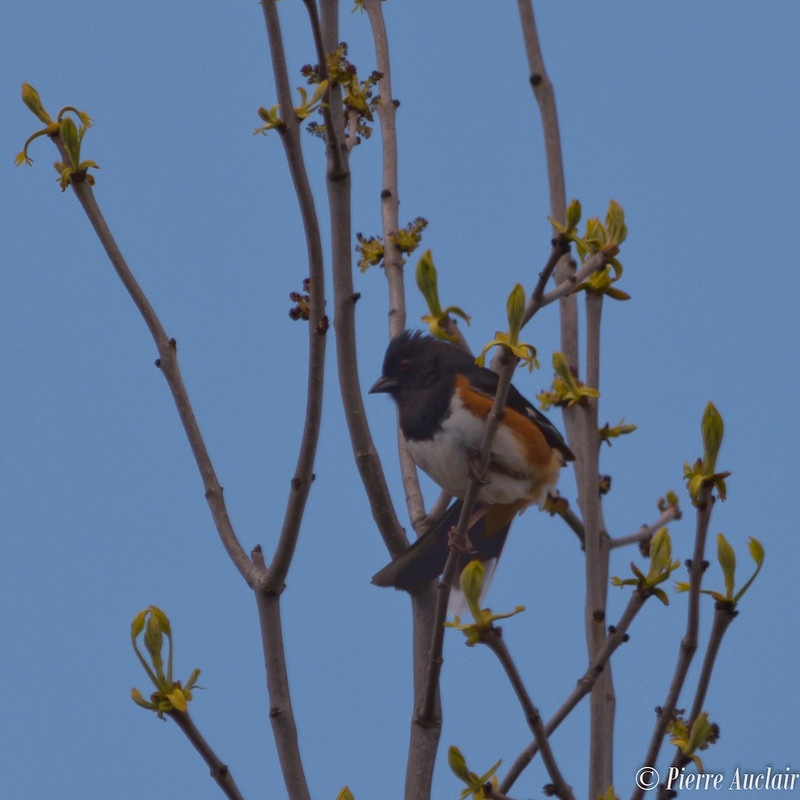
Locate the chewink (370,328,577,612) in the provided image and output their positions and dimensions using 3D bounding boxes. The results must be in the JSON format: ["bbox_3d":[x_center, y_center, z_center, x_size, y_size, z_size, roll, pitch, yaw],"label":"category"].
[{"bbox_3d":[0.143,0.151,4.142,0.393,0.240,0.532,16,-70,33],"label":"chewink"}]
